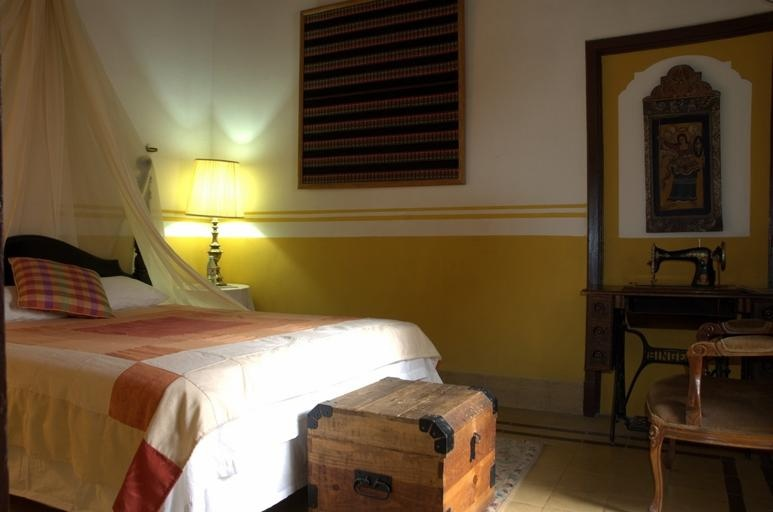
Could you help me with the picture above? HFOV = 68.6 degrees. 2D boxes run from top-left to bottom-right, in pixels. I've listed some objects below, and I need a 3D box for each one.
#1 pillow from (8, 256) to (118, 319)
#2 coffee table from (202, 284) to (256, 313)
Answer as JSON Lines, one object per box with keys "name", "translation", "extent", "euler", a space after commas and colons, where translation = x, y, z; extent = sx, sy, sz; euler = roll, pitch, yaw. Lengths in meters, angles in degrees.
{"name": "pillow", "translation": [-2.277, 0.236, 4.016], "extent": [0.656, 0.160, 0.668], "euler": [36, 13, 35]}
{"name": "coffee table", "translation": [-1.338, 0.359, 5.150], "extent": [0.269, 0.180, 0.278], "euler": [3, 2, 35]}
